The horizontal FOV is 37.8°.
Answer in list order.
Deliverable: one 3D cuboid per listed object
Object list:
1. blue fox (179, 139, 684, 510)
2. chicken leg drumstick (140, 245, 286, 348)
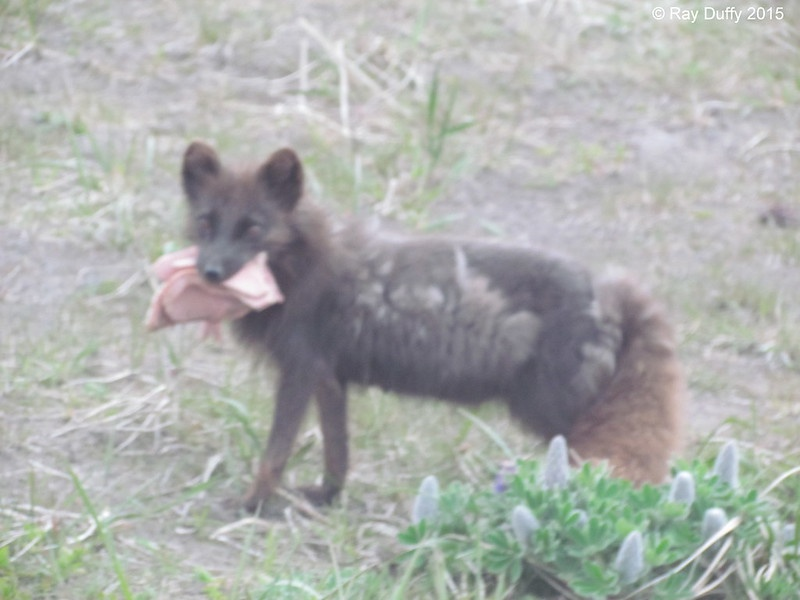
[{"bbox_3d":[0.062,0.102,2.832,1.238,0.746,0.493,6,42,-3],"label":"blue fox"},{"bbox_3d":[-0.430,-0.004,2.759,0.300,0.239,0.124,11,42,3],"label":"chicken leg drumstick"}]
